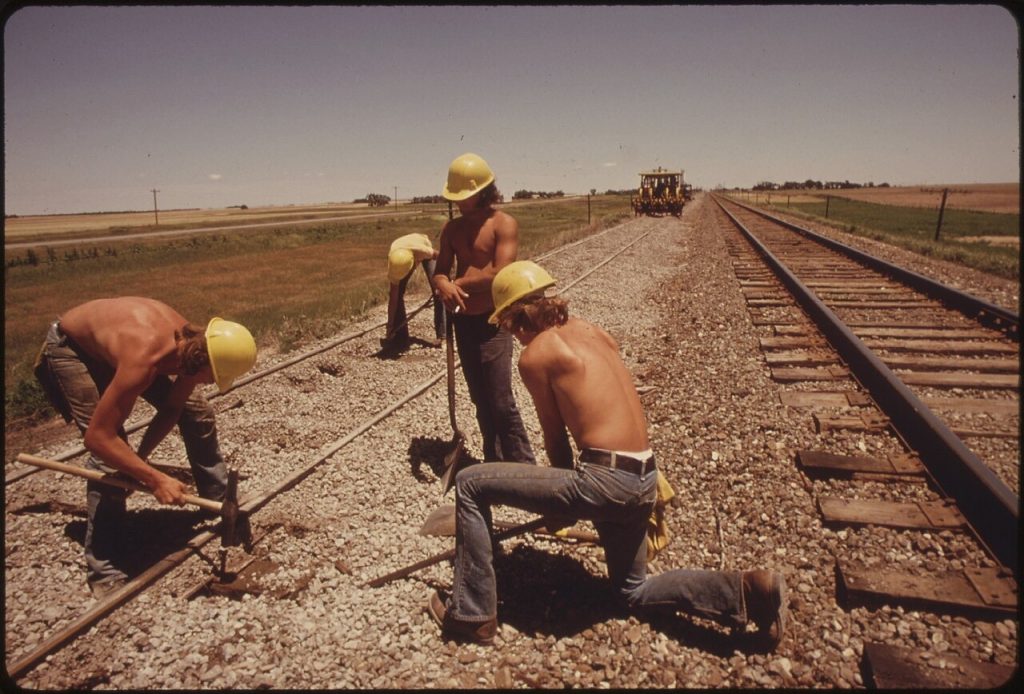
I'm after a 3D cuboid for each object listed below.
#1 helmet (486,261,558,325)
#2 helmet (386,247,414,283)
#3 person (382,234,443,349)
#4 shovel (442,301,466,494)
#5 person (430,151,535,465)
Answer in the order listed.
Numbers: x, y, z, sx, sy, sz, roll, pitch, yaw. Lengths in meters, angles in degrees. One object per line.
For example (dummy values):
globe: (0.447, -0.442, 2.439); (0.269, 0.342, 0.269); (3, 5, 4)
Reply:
helmet: (0.027, -0.419, 5.165); (0.481, 0.290, 0.400); (-29, 2, 34)
helmet: (-1.474, -1.084, 8.819); (0.344, 0.480, 0.447); (-4, 18, -8)
person: (-1.458, -0.629, 9.417); (0.918, 1.803, 0.837); (-10, 27, -20)
shovel: (-0.604, 0.516, 6.587); (0.278, 1.415, 0.145); (-5, 16, -15)
person: (-0.255, -0.385, 6.274); (0.789, 2.852, 0.975); (2, 2, 40)
